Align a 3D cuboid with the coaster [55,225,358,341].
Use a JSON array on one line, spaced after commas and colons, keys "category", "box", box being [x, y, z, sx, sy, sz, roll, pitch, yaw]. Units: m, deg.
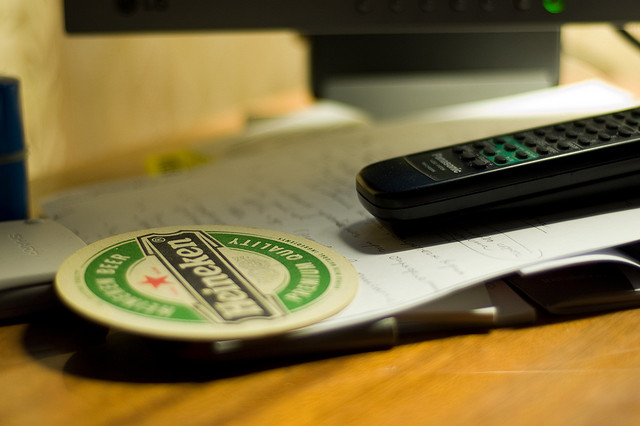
[{"category": "coaster", "box": [-0.071, 0.037, 0.328, 0.187, 0.015, 0.115, 0, 31, 2]}]
